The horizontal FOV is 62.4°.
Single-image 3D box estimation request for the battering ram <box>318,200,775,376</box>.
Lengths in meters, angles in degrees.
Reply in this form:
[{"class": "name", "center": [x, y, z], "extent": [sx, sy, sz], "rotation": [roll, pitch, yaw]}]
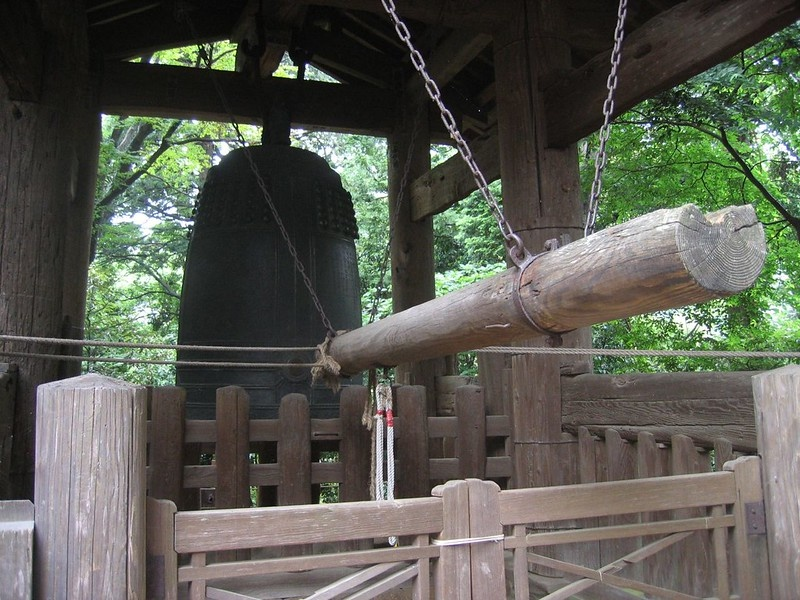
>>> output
[{"class": "battering ram", "center": [0.188, 0.046, 3.020], "extent": [0.498, 0.499, 2.841], "rotation": [32, -19, -21]}]
